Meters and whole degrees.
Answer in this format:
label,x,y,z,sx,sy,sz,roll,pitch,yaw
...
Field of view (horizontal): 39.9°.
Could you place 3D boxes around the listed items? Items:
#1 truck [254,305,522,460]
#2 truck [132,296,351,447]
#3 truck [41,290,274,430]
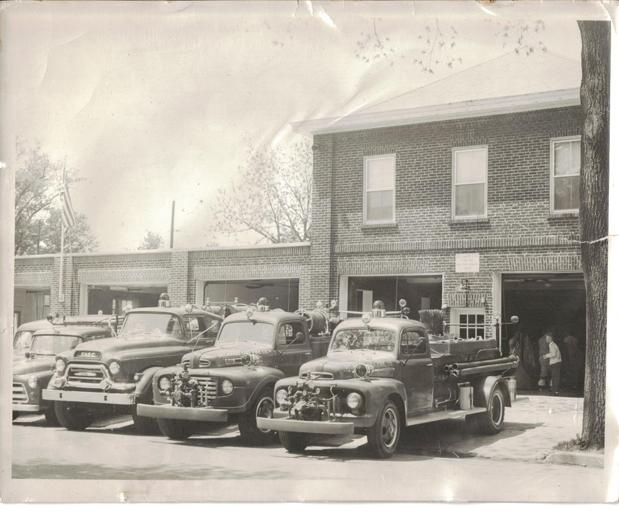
label,x,y,z,sx,sy,sz,roll,pitch,yaw
truck,1.687,2.317,15.141,1.999,1.913,4.627,-8,-13,37
truck,-0.687,2.305,16.654,2.159,2.527,5.495,-7,-6,31
truck,-3.085,1.990,16.686,2.323,1.893,3.530,-8,-11,38
